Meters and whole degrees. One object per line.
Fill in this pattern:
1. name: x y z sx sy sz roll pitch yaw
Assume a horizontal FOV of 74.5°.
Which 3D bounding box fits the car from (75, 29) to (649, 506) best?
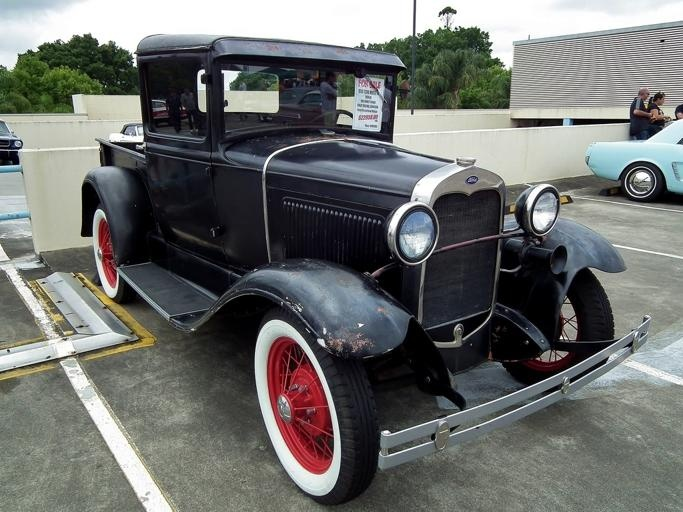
1. car: -0.420 -0.461 3.868 2.560 2.180 4.494 -13 23 -38
